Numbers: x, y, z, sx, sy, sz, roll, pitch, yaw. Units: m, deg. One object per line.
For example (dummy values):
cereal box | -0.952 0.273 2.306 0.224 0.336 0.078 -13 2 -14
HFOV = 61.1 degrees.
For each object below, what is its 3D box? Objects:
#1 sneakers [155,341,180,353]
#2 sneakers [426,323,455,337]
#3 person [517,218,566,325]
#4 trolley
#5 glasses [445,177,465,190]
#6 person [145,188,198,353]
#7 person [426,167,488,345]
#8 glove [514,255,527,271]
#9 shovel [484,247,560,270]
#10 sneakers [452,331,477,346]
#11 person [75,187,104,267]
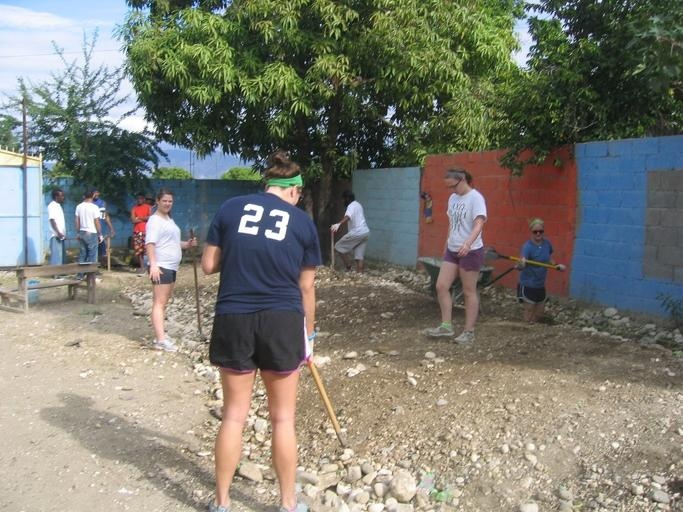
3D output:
sneakers | -2.355 1.214 7.841 0.338 0.150 0.131 4 10 -1
sneakers | 1.213 0.919 7.143 0.355 0.180 0.164 0 2 -6
person | 2.627 0.225 7.909 0.432 1.480 1.076 2 5 20
trolley | 1.803 0.430 8.848 1.529 0.776 0.711 16 18 38
glasses | 1.342 -0.846 6.821 0.155 0.054 0.153 12 -15 -23
person | -2.267 0.220 7.509 0.471 2.145 0.575 -1 5 -17
person | 1.397 -0.015 6.888 0.606 2.052 0.607 -1 5 -16
glove | 2.386 0.099 7.679 0.149 0.186 0.379 2 5 17
shovel | 2.683 0.021 8.540 0.763 0.208 0.263 11 2 28
sneakers | 1.447 0.947 6.787 0.241 0.153 0.223 1 5 2
person | -5.561 -0.657 12.703 0.461 1.542 0.569 -2 6 -24
